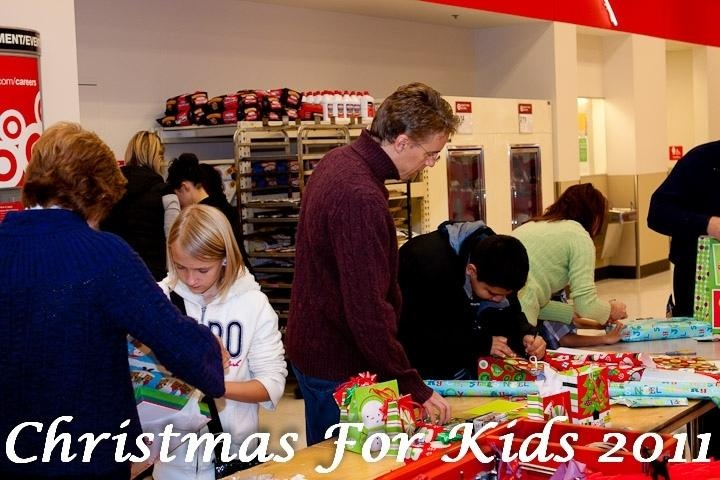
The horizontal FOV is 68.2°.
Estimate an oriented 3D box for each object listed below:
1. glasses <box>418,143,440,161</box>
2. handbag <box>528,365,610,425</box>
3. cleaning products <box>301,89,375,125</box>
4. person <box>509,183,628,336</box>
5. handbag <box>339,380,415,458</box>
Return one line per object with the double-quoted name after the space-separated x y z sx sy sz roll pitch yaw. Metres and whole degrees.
0.278 -0.350 2.174 0.021 0.071 0.069 -48 -20 28 "glasses"
0.860 0.636 2.167 0.232 0.221 0.124 0 -5 -34 "handbag"
-0.226 -1.479 5.939 0.586 0.247 0.581 -1 8 -5 "cleaning products"
1.414 0.060 3.540 0.786 0.837 0.733 -2 8 8 "person"
0.059 0.647 1.977 0.267 0.244 0.104 2 -1 -13 "handbag"
